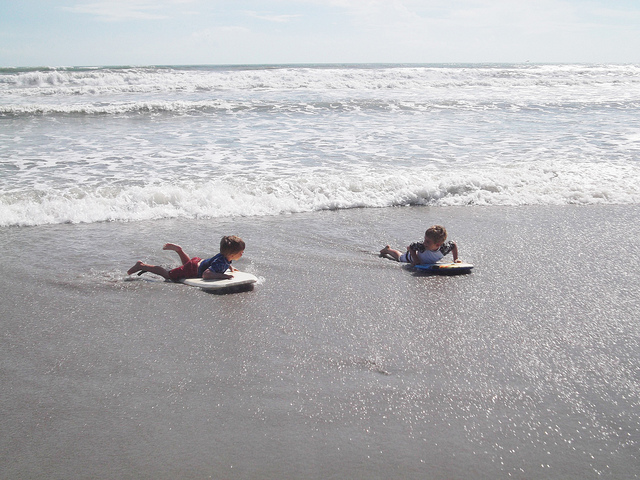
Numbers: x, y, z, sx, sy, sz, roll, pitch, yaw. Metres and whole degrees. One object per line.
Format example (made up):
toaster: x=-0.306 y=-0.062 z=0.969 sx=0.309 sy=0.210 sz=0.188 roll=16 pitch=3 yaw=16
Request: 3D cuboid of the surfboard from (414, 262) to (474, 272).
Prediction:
surfboard: x=1.674 y=0.350 z=8.711 sx=0.789 sy=0.135 sz=0.290 roll=4 pitch=15 yaw=15

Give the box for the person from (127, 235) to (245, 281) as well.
person: x=-1.697 y=0.233 z=8.377 sx=1.513 sy=0.458 sz=0.621 roll=3 pitch=10 yaw=11

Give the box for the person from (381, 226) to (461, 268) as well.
person: x=1.393 y=0.144 z=9.096 sx=0.709 sy=0.454 sz=1.271 roll=-2 pitch=-6 yaw=-30

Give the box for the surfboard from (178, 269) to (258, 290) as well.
surfboard: x=-1.202 y=0.511 z=8.089 sx=0.620 sy=0.070 sz=0.403 roll=-7 pitch=12 yaw=-41
